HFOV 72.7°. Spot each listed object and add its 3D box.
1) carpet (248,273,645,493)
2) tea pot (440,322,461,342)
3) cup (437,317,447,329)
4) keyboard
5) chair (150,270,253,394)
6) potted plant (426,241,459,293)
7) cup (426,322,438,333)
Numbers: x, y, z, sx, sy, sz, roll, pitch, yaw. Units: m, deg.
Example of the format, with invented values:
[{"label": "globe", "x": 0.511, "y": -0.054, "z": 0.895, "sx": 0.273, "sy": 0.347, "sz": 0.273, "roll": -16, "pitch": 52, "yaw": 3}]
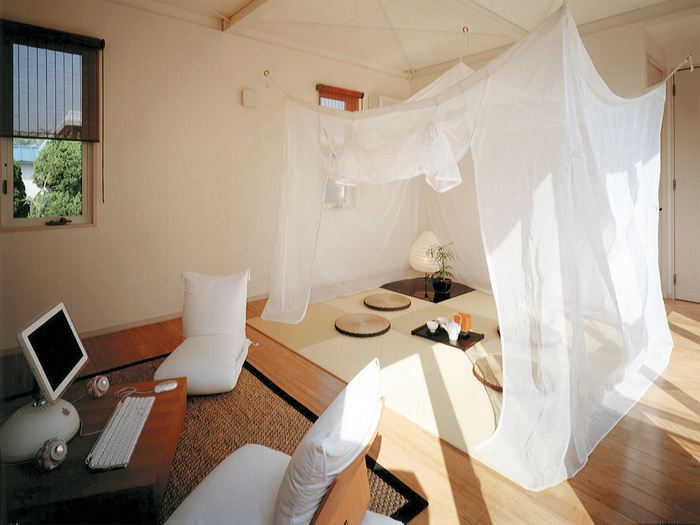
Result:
[{"label": "carpet", "x": 1.040, "y": 0.646, "z": 5.595, "sx": 2.889, "sy": 0.077, "sz": 4.082, "roll": 12, "pitch": 16, "yaw": 40}, {"label": "tea pot", "x": 1.009, "y": 0.669, "z": 4.719, "sx": 0.151, "sy": 0.167, "sz": 0.150, "roll": -3, "pitch": 9, "yaw": 1}, {"label": "cup", "x": 0.944, "y": 0.615, "z": 4.879, "sx": 0.078, "sy": 0.073, "sz": 0.086, "roll": 9, "pitch": 15, "yaw": 27}, {"label": "keyboard", "x": -1.422, "y": 1.065, "z": 2.945, "sx": 0.190, "sy": 0.050, "sz": 0.491, "roll": 11, "pitch": 22, "yaw": -9}, {"label": "chair", "x": -1.217, "y": 0.575, "z": 4.085, "sx": 0.605, "sy": 0.963, "sz": 0.954, "roll": 1, "pitch": 10, "yaw": -5}, {"label": "potted plant", "x": 1.186, "y": 0.104, "z": 6.203, "sx": 0.325, "sy": 0.648, "sz": 0.282, "roll": 1, "pitch": -8, "yaw": 12}, {"label": "cup", "x": 0.839, "y": 0.651, "z": 4.843, "sx": 0.094, "sy": 0.084, "sz": 0.103, "roll": -1, "pitch": -1, "yaw": 0}]
